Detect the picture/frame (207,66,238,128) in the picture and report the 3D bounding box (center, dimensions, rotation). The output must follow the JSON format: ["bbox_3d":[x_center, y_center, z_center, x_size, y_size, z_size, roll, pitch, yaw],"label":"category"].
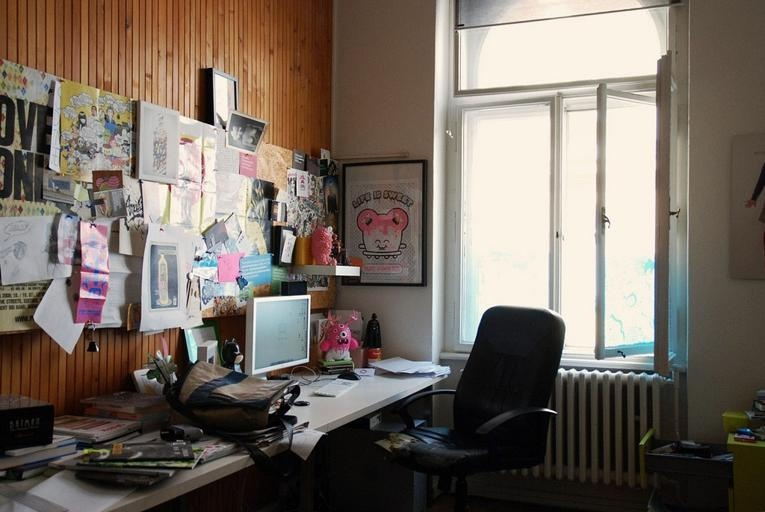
[{"bbox_3d":[-0.906,-0.899,3.500,0.039,0.253,0.186,3,1,35],"label":"picture/frame"}]

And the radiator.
[{"bbox_3d":[1.305,1.054,3.778,0.868,0.589,0.122,4,1,28],"label":"radiator"}]

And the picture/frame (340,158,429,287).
[{"bbox_3d":[0.041,-0.225,4.356,0.860,1.318,0.047,-1,-3,14],"label":"picture/frame"}]

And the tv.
[{"bbox_3d":[-0.613,0.471,3.525,0.053,0.394,0.527,2,5,27],"label":"tv"}]

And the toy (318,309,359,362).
[{"bbox_3d":[-0.299,0.557,4.154,0.246,0.337,0.176,9,-35,-20],"label":"toy"}]

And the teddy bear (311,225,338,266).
[{"bbox_3d":[-0.375,-0.075,4.244,0.200,0.358,0.265,0,0,8],"label":"teddy bear"}]

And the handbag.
[{"bbox_3d":[-0.709,0.660,2.847,0.353,0.159,0.363,5,3,10],"label":"handbag"}]
